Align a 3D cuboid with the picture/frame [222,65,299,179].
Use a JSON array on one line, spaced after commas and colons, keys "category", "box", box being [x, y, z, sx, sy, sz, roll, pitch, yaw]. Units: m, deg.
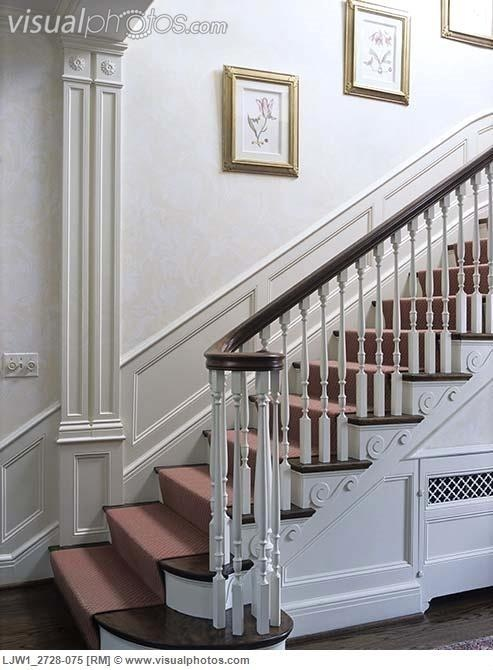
[{"category": "picture/frame", "box": [0.060, -1.261, 3.867, 0.672, 0.842, 0.088, 0, 0, -32]}]
